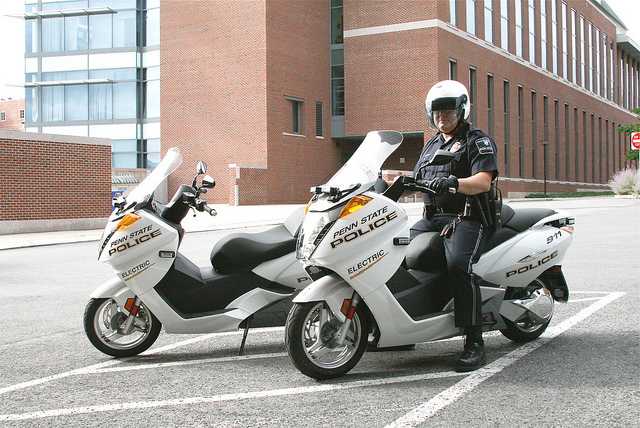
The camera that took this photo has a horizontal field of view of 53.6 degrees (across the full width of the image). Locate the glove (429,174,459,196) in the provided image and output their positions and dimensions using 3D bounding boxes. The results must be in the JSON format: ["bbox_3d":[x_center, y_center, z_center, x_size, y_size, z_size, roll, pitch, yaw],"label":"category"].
[{"bbox_3d":[1.217,-0.286,6.314,0.252,0.108,0.184,3,-8,-40],"label":"glove"}]
